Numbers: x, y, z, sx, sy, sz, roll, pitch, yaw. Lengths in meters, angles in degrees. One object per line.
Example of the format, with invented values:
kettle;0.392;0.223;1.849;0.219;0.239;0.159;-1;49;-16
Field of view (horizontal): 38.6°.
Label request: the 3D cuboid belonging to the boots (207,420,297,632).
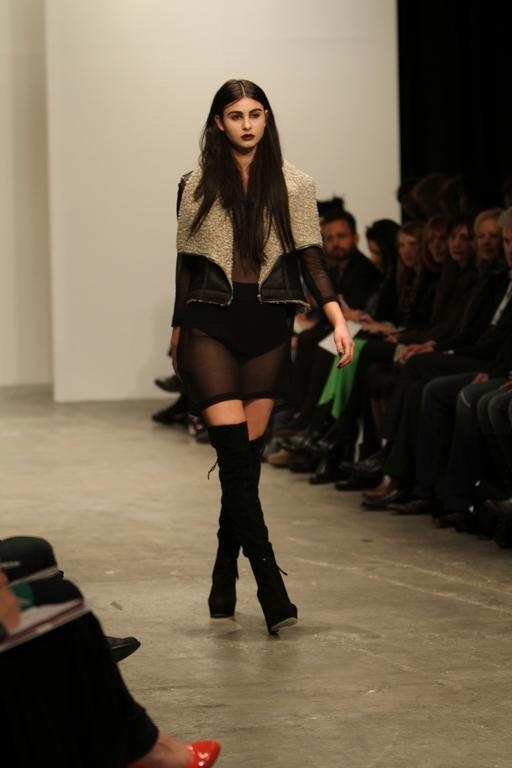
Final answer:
boots;-0.020;0.329;1.722;0.186;0.509;0.277;-2;10;-6
